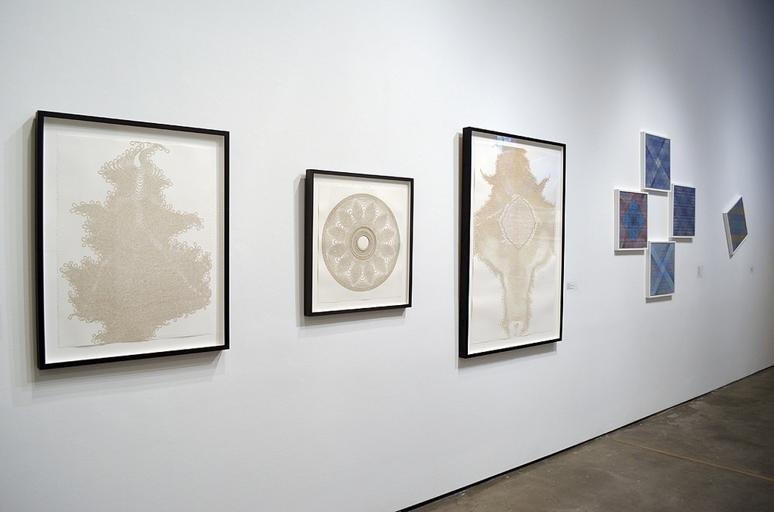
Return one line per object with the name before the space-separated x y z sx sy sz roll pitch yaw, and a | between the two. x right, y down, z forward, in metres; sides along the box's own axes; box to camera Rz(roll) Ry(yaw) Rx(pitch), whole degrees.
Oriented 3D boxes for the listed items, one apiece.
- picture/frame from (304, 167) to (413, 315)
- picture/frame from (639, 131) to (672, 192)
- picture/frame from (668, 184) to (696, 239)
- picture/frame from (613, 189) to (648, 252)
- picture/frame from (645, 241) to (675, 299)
picture/frame | -0.203 -0.098 3.183 0.846 1.069 0.098 -1 2 -32
picture/frame | 2.418 -0.859 4.719 0.052 0.536 0.517 4 8 45
picture/frame | 2.825 -0.432 5.010 0.490 0.597 0.062 1 -4 -44
picture/frame | 2.097 -0.317 4.510 0.513 0.619 0.078 -1 1 -43
picture/frame | 2.489 0.117 4.770 0.490 0.615 0.078 1 -3 -44
